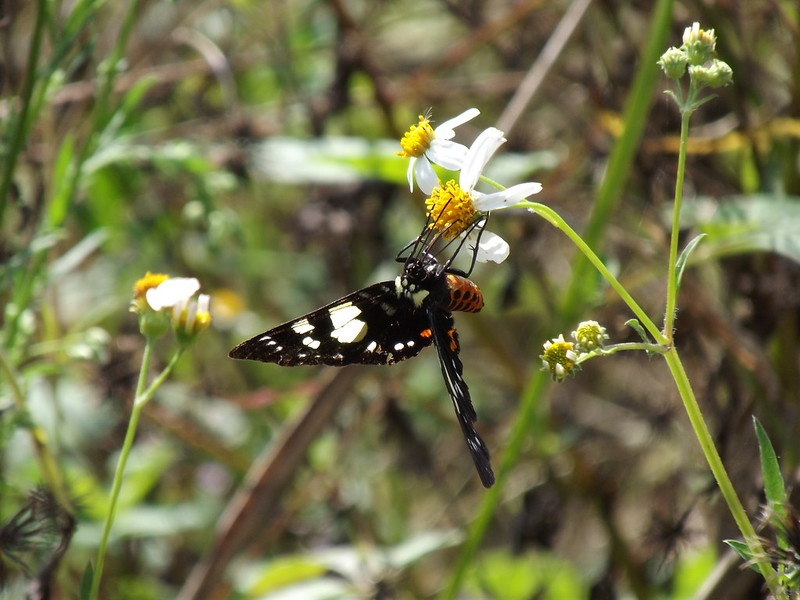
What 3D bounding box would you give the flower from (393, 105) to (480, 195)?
[{"bbox_3d":[0.130,-0.552,3.178,0.350,0.341,0.184,-36,106,-7],"label":"flower"}]
